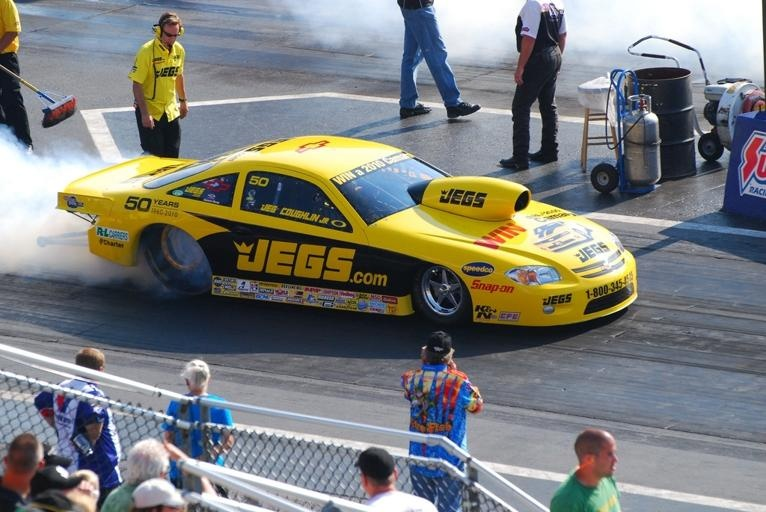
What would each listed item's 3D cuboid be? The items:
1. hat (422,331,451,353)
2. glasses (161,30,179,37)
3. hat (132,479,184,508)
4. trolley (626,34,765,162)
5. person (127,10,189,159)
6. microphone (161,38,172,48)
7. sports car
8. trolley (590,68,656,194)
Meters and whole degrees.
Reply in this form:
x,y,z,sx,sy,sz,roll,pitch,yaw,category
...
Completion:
x,y,z,sx,sy,sz,roll,pitch,yaw,category
0.485,0.718,8.915,0.186,0.108,0.218,5,20,4,hat
-2.761,-2.944,14.039,0.266,0.074,0.150,-14,19,-40,glasses
-1.596,1.690,7.560,0.347,0.121,0.207,5,7,-9,hat
5.094,-2.301,16.118,2.364,2.752,1.709,0,21,8,trolley
-2.988,-2.316,14.264,0.994,1.867,1.373,2,-7,-12,person
-2.836,-2.810,14.076,0.110,0.133,0.085,-18,24,-39,microphone
-0.329,-0.434,12.715,6.613,1.228,2.431,8,18,23,sports car
3.671,-1.769,15.070,1.116,1.600,1.075,7,22,40,trolley
